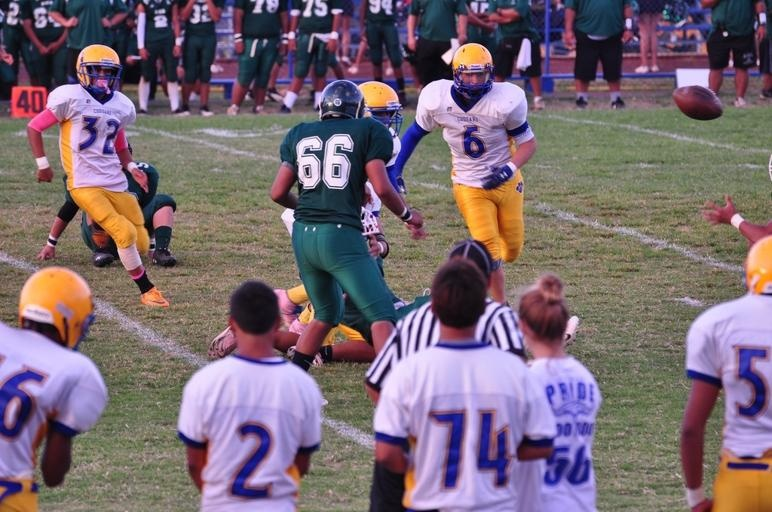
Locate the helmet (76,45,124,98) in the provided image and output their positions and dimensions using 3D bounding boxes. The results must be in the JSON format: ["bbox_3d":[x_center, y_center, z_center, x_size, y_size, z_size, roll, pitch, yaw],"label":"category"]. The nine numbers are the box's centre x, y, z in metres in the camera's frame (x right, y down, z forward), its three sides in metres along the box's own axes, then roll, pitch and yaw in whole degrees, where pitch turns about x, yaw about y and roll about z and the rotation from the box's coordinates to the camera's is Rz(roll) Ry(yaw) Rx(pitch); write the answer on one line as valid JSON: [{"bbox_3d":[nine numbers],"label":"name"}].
[{"bbox_3d":[-2.610,-1.712,13.174,0.388,0.461,0.487,1,11,-22],"label":"helmet"}]

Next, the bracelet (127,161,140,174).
[{"bbox_3d":[-2.342,-0.825,13.316,0.090,0.099,0.100,-4,-5,0],"label":"bracelet"}]

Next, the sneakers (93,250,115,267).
[{"bbox_3d":[-2.698,0.011,13.745,0.092,0.123,0.255,-1,-25,-35],"label":"sneakers"}]

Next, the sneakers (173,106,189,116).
[{"bbox_3d":[-2.798,-1.960,19.649,0.220,0.086,0.226,-2,9,-16],"label":"sneakers"}]

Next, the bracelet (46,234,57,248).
[{"bbox_3d":[-3.214,-0.150,13.765,0.095,0.097,0.117,4,-16,9],"label":"bracelet"}]

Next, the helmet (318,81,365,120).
[{"bbox_3d":[-0.364,-1.232,11.545,0.350,0.388,0.466,8,11,13],"label":"helmet"}]

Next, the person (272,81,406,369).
[{"bbox_3d":[-0.306,-0.114,11.672,1.124,2.518,0.993,3,6,24],"label":"person"}]

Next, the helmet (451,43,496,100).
[{"bbox_3d":[0.763,-1.648,12.794,0.365,0.448,0.484,-3,15,-4],"label":"helmet"}]

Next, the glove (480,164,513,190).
[{"bbox_3d":[0.974,-0.701,12.688,0.274,0.234,0.137,2,9,4],"label":"glove"}]

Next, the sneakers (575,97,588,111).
[{"bbox_3d":[2.543,-2.000,18.957,0.139,0.137,0.156,8,22,8],"label":"sneakers"}]

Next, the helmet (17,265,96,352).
[{"bbox_3d":[-2.261,0.352,9.826,0.470,0.533,0.590,12,1,11],"label":"helmet"}]

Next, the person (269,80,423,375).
[{"bbox_3d":[-0.298,-0.123,11.643,1.125,2.486,0.987,4,8,28],"label":"person"}]

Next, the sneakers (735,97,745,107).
[{"bbox_3d":[4.490,-1.961,18.348,0.096,0.101,0.134,2,-12,7],"label":"sneakers"}]

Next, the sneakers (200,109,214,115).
[{"bbox_3d":[-2.467,-1.951,19.670,0.096,0.089,0.132,1,6,-5],"label":"sneakers"}]

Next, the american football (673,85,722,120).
[{"bbox_3d":[2.908,-1.417,13.512,0.401,0.258,0.289,24,12,23],"label":"american football"}]

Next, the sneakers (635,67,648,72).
[{"bbox_3d":[3.605,-2.651,20.539,0.072,0.075,0.177,-3,10,-22],"label":"sneakers"}]

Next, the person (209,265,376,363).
[{"bbox_3d":[-0.734,0.554,11.807,1.011,0.394,0.750,-13,18,-38],"label":"person"}]

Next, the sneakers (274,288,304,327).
[{"bbox_3d":[-0.793,0.366,12.314,0.144,0.217,0.288,15,55,17],"label":"sneakers"}]

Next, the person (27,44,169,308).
[{"bbox_3d":[-2.563,-0.764,13.166,1.301,2.265,0.586,3,9,17],"label":"person"}]

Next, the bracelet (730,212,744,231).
[{"bbox_3d":[2.692,-0.258,11.132,0.128,0.099,0.218,2,18,12],"label":"bracelet"}]

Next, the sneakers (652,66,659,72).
[{"bbox_3d":[3.802,-2.656,20.499,0.114,0.084,0.059,1,9,0],"label":"sneakers"}]

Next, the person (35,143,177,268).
[{"bbox_3d":[-2.629,-0.537,13.692,1.592,1.049,0.826,-18,21,-29],"label":"person"}]

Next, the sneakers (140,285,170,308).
[{"bbox_3d":[-2.090,0.354,12.975,0.237,0.156,0.303,-2,9,-18],"label":"sneakers"}]
